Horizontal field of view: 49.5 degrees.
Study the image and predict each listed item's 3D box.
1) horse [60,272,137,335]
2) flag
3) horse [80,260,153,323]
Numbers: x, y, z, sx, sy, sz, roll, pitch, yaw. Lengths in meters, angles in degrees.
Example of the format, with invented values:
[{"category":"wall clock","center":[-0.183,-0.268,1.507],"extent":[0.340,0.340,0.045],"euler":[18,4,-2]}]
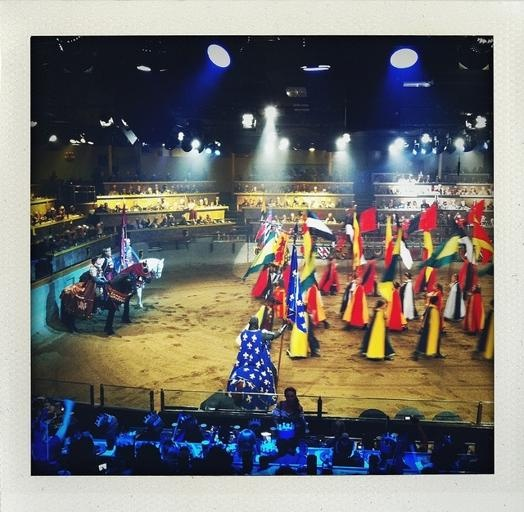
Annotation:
[{"category":"horse","center":[-1.976,0.518,6.819],"extent":[0.891,0.736,0.328],"euler":[0,8,-5]},{"category":"flag","center":[1.888,0.262,6.871],"extent":[1.749,1.870,0.890],"euler":[3,5,22]},{"category":"horse","center":[-1.942,0.484,6.944],"extent":[0.995,0.800,0.321],"euler":[-1,6,13]}]
